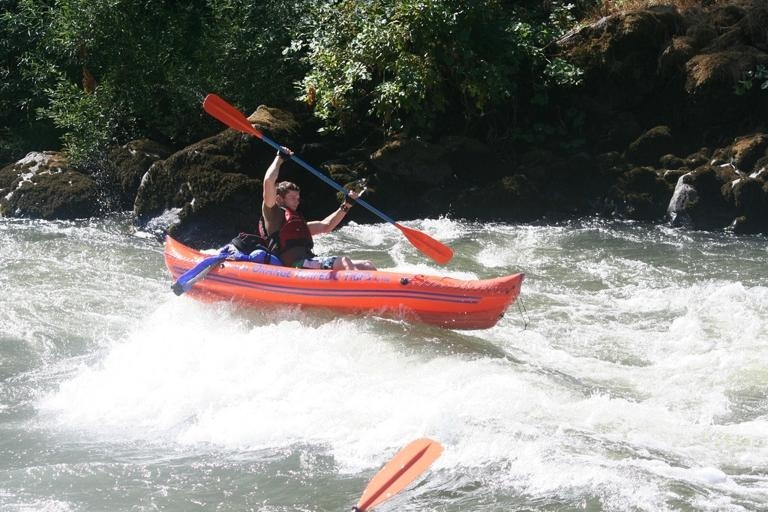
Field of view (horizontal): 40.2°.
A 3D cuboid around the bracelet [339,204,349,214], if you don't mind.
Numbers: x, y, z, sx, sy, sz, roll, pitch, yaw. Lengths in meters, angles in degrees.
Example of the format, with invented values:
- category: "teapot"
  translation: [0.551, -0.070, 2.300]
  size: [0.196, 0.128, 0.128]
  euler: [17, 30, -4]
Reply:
- category: "bracelet"
  translation: [-0.631, -0.759, 16.765]
  size: [0.145, 0.094, 0.138]
  euler: [5, -1, 8]
